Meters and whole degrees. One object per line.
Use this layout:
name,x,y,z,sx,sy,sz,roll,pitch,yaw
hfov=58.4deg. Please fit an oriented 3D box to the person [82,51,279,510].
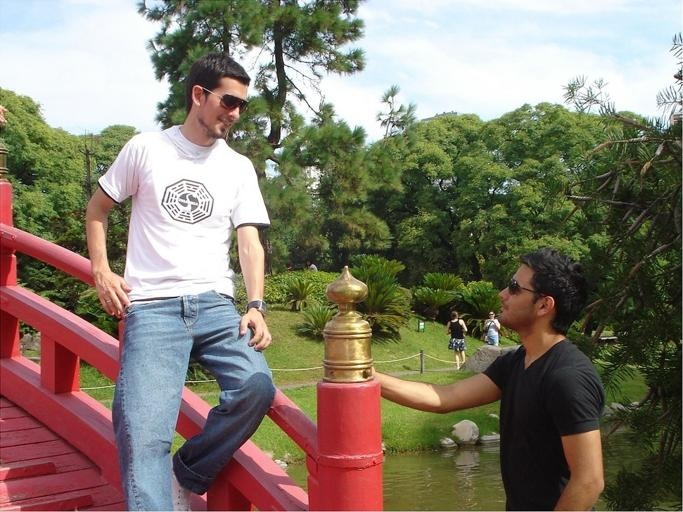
person,-0.722,0.066,2.770,0.811,2.124,0.676,2,0,-18

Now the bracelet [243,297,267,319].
bracelet,-0.384,0.237,2.764,0.084,0.073,0.086,2,-1,-14

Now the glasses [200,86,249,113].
glasses,-0.535,-0.738,2.919,0.150,0.052,0.115,35,15,34
